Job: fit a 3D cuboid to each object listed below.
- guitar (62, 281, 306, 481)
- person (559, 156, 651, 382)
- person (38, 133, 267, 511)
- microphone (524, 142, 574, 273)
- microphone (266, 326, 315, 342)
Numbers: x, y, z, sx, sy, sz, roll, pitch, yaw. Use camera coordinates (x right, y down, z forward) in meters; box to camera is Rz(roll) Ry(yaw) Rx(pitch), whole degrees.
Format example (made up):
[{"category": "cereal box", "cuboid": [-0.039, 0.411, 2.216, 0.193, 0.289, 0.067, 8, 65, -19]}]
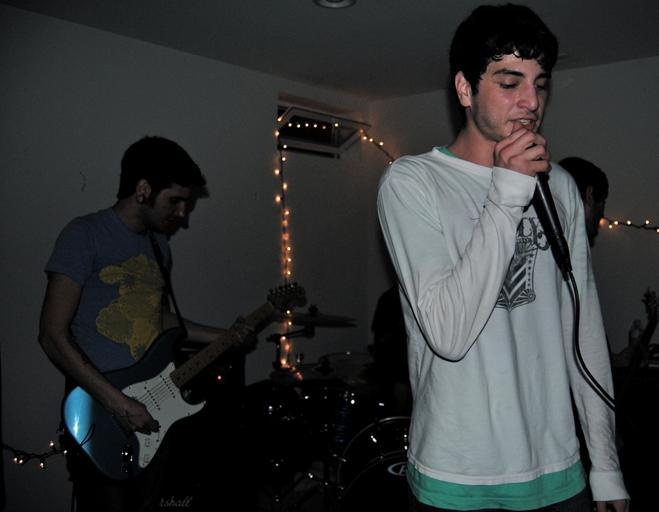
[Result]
[{"category": "guitar", "cuboid": [-0.783, 0.627, 3.341, 0.587, 0.226, 1.695, 39, 40, 9]}, {"category": "person", "cuboid": [1.960, -0.195, 4.019, 0.953, 2.109, 0.281, -3, 2, -41]}, {"category": "person", "cuboid": [-1.077, 0.105, 3.016, 0.341, 1.642, 0.823, -3, -4, 34]}, {"category": "microphone", "cuboid": [0.665, -0.101, 1.718, 0.139, 0.300, 0.073, 1, -4, -28]}, {"category": "microphone", "cuboid": [-0.347, 0.644, 4.741, 0.368, 0.112, 0.140, -9, 8, -6]}]
